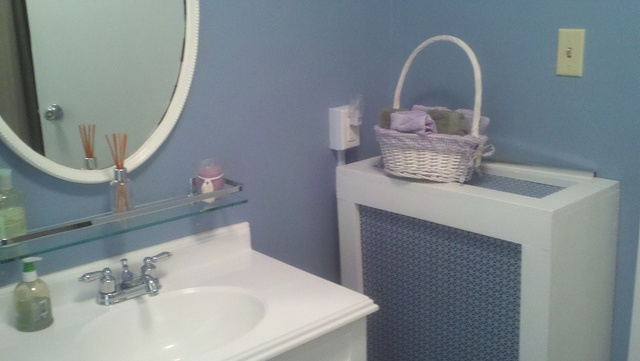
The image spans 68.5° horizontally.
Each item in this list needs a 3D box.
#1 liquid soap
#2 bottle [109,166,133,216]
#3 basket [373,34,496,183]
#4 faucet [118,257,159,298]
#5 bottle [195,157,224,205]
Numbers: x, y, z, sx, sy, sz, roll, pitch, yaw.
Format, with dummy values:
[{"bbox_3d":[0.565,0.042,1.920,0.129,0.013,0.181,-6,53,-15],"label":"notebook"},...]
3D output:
[{"bbox_3d":[-1.068,0.410,1.796,0.134,0.267,0.127,0,6,24],"label":"liquid soap"},{"bbox_3d":[-0.775,0.042,1.831,0.081,0.170,0.074,-8,22,-22],"label":"bottle"},{"bbox_3d":[0.536,-0.354,2.177,0.506,0.601,0.385,8,15,38],"label":"basket"},{"bbox_3d":[-0.736,0.395,1.905,0.136,0.086,0.224,-17,24,-35],"label":"faucet"},{"bbox_3d":[-0.456,-0.003,1.958,0.165,0.159,0.193,-5,13,-15],"label":"bottle"}]
